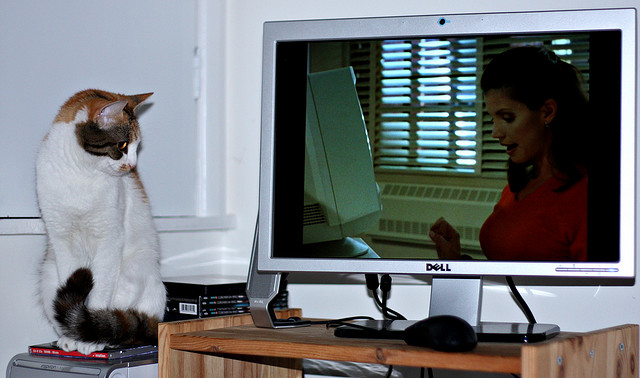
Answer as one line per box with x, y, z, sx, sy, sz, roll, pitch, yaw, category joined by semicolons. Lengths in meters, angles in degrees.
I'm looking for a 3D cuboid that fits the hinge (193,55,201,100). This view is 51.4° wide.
-0.457;-0.415;2.457;0.032;0.165;0.010;-1;2;-21;hinge

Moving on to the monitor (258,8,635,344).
0.379;-0.060;1.948;1.085;0.879;0.274;-1;-6;14;monitor

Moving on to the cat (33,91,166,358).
-0.664;0.087;2.101;0.369;0.806;0.250;-2;2;-44;cat

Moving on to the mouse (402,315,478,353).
0.326;0.380;1.813;0.152;0.083;0.244;-2;-5;-34;mouse
